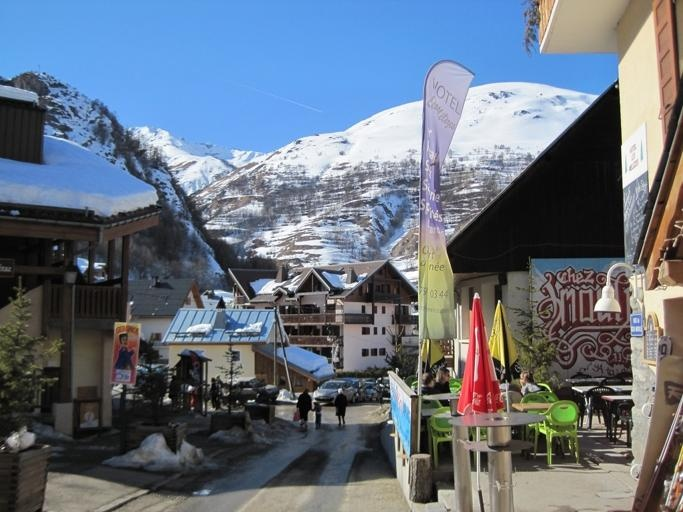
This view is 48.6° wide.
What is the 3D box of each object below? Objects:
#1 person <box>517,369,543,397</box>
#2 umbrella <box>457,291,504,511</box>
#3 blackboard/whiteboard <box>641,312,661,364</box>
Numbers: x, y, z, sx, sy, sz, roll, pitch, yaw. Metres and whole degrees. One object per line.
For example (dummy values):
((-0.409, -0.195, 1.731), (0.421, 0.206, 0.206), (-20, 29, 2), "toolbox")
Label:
((5.097, 3.394, 20.211), (0.474, 0.634, 1.221), (-3, -10, 14), "person")
((2.519, 2.435, 13.535), (0.815, 3.670, 0.841), (2, -9, -12), "umbrella")
((6.533, 1.712, 15.743), (0.152, 1.257, 0.890), (7, -10, 7), "blackboard/whiteboard")
